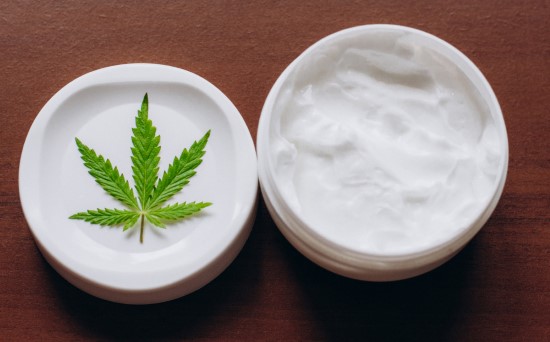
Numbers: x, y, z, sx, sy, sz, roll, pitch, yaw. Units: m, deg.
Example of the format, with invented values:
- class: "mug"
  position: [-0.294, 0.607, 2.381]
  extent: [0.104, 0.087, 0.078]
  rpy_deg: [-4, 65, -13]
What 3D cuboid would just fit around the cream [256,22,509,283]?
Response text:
- class: "cream"
  position: [0.264, -0.047, 1.651]
  extent: [0.595, 0.307, 0.592]
  rpy_deg: [41, 66, 19]
